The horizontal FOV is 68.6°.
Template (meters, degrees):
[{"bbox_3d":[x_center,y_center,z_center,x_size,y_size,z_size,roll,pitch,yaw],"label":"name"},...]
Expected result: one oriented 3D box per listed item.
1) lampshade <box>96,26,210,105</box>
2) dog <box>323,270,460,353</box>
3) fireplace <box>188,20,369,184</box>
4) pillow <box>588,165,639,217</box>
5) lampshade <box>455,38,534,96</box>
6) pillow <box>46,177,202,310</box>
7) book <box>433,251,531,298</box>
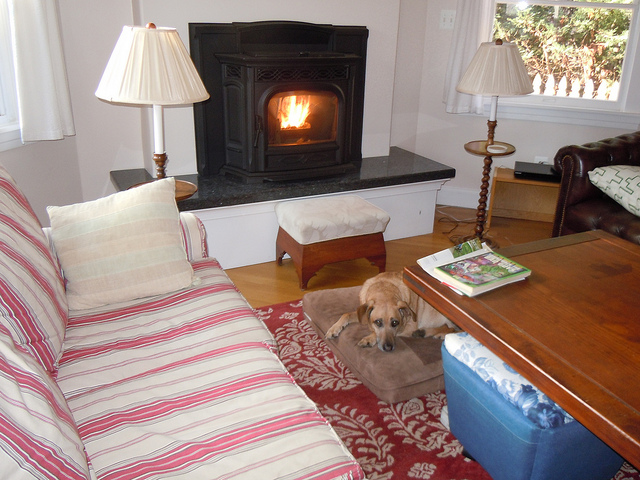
[{"bbox_3d":[-0.844,-0.899,2.385,0.582,0.328,0.532,17,30,24],"label":"lampshade"},{"bbox_3d":[0.362,0.358,2.271,0.383,0.164,0.519,0,19,13],"label":"dog"},{"bbox_3d":[-0.209,-0.968,3.368,1.342,1.047,0.426,-11,32,-24],"label":"fireplace"},{"bbox_3d":[1.906,-0.270,3.039,0.328,0.098,0.336,19,40,20],"label":"pillow"},{"bbox_3d":[1.208,-1.179,3.208,0.513,0.306,0.495,25,43,36],"label":"lampshade"},{"bbox_3d":[-0.847,0.037,2.043,0.562,0.440,0.286,-12,19,-2],"label":"pillow"},{"bbox_3d":[0.692,0.140,2.012,0.289,0.027,0.192,-13,28,-27],"label":"book"}]
